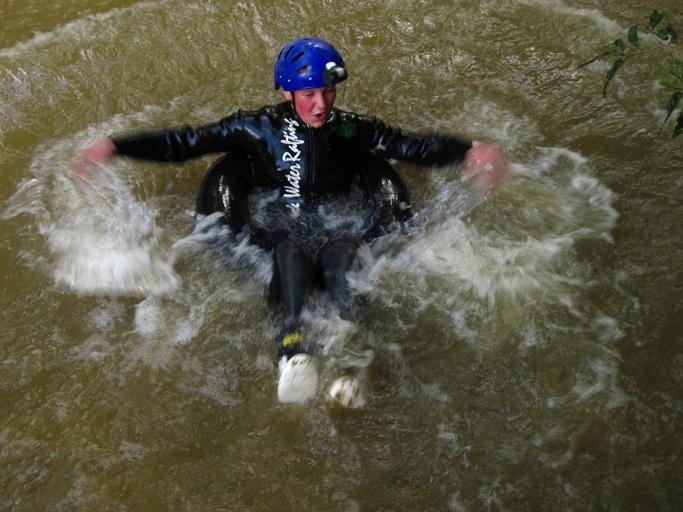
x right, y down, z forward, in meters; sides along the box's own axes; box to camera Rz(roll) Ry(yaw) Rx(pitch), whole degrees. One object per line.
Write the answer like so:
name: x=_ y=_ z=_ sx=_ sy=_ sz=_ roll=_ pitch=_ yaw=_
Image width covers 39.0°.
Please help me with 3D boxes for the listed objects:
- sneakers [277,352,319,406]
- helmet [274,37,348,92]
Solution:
sneakers: x=-0.274 y=0.761 z=6.019 sx=0.249 sy=0.218 sz=0.283 roll=1 pitch=70 yaw=-1
helmet: x=-0.207 y=-1.209 z=6.228 sx=0.304 sy=0.227 sz=0.429 roll=-22 pitch=32 yaw=-21
